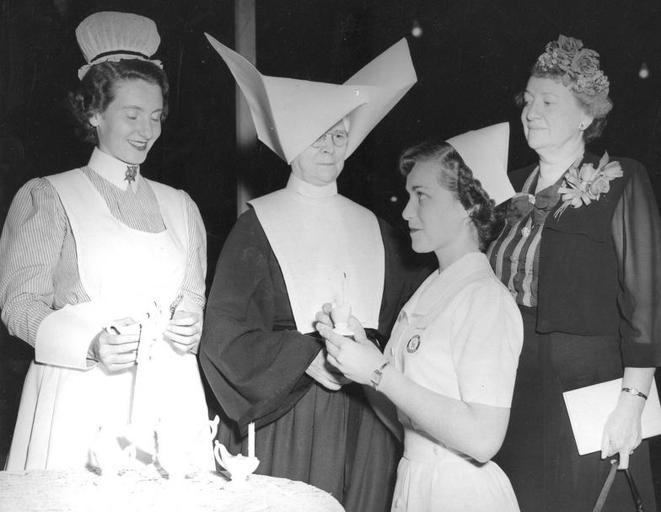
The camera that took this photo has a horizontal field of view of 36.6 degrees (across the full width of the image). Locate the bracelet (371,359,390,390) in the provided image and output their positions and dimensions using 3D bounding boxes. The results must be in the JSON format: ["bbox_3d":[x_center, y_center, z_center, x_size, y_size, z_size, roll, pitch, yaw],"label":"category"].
[{"bbox_3d":[0.147,0.360,3.015,0.052,0.082,0.078,14,27,30],"label":"bracelet"}]

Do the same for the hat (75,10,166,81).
[{"bbox_3d":[-0.740,-0.755,3.543,0.279,0.141,0.273,-18,-13,19],"label":"hat"}]
